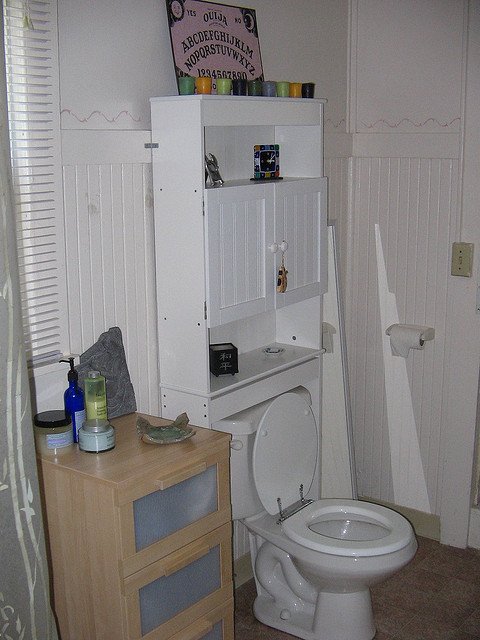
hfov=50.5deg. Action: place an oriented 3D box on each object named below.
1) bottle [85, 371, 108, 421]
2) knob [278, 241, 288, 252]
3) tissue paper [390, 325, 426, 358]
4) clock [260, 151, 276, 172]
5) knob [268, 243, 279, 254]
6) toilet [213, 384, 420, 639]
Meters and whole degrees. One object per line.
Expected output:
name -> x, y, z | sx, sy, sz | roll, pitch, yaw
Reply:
bottle -> -0.357, 0.189, 1.262 | 0.050, 0.115, 0.061 | -2, 13, -24
knob -> 0.145, -0.242, 1.682 | 0.020, 0.036, 0.069 | 9, 14, 23
tissue paper -> 0.781, 0.094, 2.358 | 0.138, 0.176, 0.113 | 10, 24, 28
clock -> 0.098, -0.572, 1.822 | 0.050, 0.065, 0.009 | -18, 26, -40
knob -> 0.112, -0.232, 1.645 | 0.016, 0.034, 0.053 | 12, 15, 35
toilet -> 0.313, 0.627, 2.048 | 0.762, 1.120, 0.612 | 5, 11, 33
